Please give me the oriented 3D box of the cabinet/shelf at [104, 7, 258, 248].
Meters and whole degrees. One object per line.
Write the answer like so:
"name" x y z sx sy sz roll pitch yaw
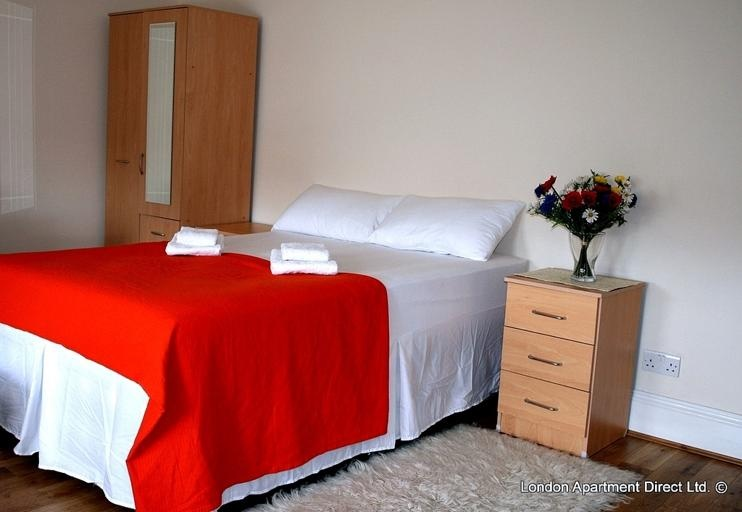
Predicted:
"cabinet/shelf" -1.709 -1.036 4.608 1.261 2.005 0.649 7 13 16

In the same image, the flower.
"flower" 1.226 -0.181 3.236 0.624 0.656 0.583 -2 4 -37

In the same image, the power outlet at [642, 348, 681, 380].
"power outlet" 1.714 0.626 3.153 0.172 0.122 0.024 11 14 38

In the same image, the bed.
"bed" -0.304 0.550 2.718 1.810 0.512 1.365 -10 17 -44
